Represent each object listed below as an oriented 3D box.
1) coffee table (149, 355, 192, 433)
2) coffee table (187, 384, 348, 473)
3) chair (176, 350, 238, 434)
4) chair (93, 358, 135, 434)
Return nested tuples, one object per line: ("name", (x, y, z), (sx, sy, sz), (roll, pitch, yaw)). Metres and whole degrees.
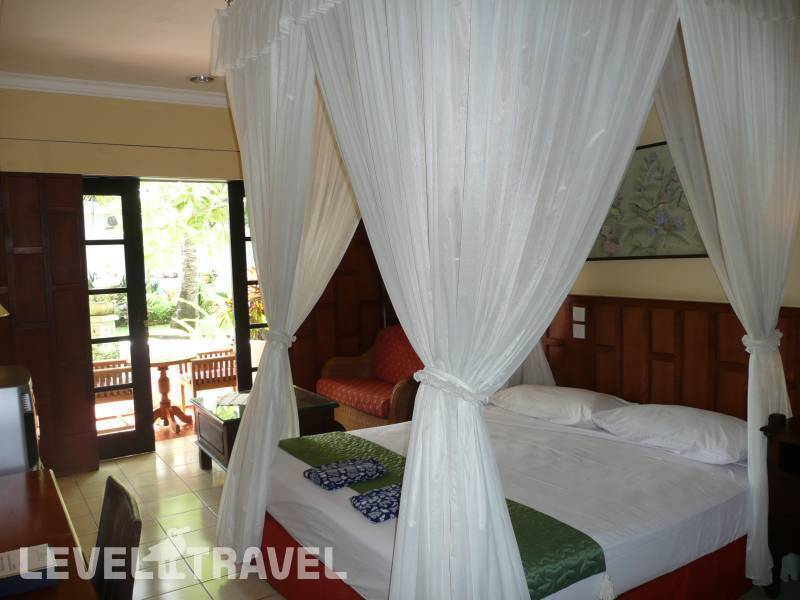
("coffee table", (-2.488, 1.023, 5.727), (0.498, 0.658, 0.529), (-1, 4, 21))
("coffee table", (-1.103, 0.951, 4.390), (0.772, 0.616, 1.062), (-5, 8, -31))
("chair", (-2.378, 1.053, 7.018), (0.582, 0.841, 0.551), (-5, 8, -25))
("chair", (-2.656, 0.897, 5.061), (0.375, 0.774, 0.447), (-5, 4, -31))
